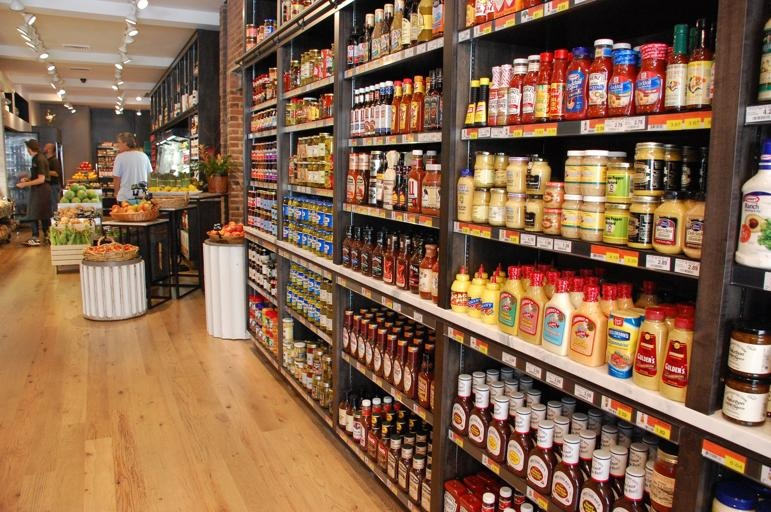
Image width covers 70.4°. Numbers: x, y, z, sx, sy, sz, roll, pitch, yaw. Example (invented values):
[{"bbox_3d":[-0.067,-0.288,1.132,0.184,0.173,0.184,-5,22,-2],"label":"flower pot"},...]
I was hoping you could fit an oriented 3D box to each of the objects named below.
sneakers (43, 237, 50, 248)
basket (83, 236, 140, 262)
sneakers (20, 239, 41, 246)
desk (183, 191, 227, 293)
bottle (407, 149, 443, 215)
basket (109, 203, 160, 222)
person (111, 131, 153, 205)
[{"bbox_3d":[-7.094,-0.286,11.440,0.192,0.169,0.314,0,8,-36],"label":"sneakers"},{"bbox_3d":[-3.262,-0.087,6.491,0.589,0.246,0.483,-3,13,-17],"label":"basket"},{"bbox_3d":[-7.514,-0.298,11.581,0.280,0.133,0.115,4,12,-21],"label":"sneakers"},{"bbox_3d":[-2.431,-0.229,7.370,0.463,1.279,1.358,-3,11,-28],"label":"desk"},{"bbox_3d":[0.223,-0.416,3.149,0.127,0.370,0.344,-3,11,-23],"label":"bottle"},{"bbox_3d":[-3.224,-0.573,7.051,0.542,0.252,0.388,-5,14,-25],"label":"basket"},{"bbox_3d":[-4.145,-1.396,8.951,0.570,1.209,1.696,-5,14,-25],"label":"person"}]
